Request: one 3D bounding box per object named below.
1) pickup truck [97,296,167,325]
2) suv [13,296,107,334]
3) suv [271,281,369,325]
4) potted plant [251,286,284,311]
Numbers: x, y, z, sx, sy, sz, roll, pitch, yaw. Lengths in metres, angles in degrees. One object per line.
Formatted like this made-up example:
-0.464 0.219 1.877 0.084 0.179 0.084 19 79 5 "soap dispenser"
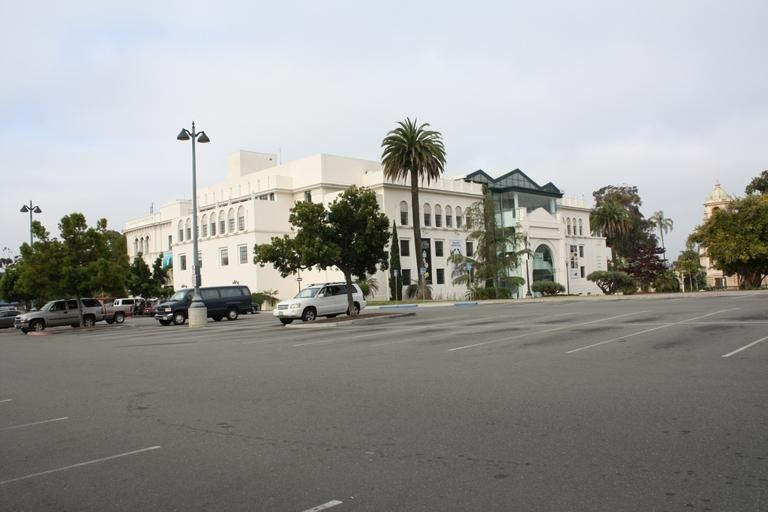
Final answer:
-19.849 4.267 50.370 4.738 1.647 2.285 4 -9 -44 "pickup truck"
-19.730 3.531 39.424 4.688 1.912 2.233 5 -11 -40 "suv"
-3.512 3.030 34.820 3.248 2.819 7.734 2 0 26 "suv"
-12.151 4.439 67.349 2.889 2.269 2.964 -2 -2 37 "potted plant"
